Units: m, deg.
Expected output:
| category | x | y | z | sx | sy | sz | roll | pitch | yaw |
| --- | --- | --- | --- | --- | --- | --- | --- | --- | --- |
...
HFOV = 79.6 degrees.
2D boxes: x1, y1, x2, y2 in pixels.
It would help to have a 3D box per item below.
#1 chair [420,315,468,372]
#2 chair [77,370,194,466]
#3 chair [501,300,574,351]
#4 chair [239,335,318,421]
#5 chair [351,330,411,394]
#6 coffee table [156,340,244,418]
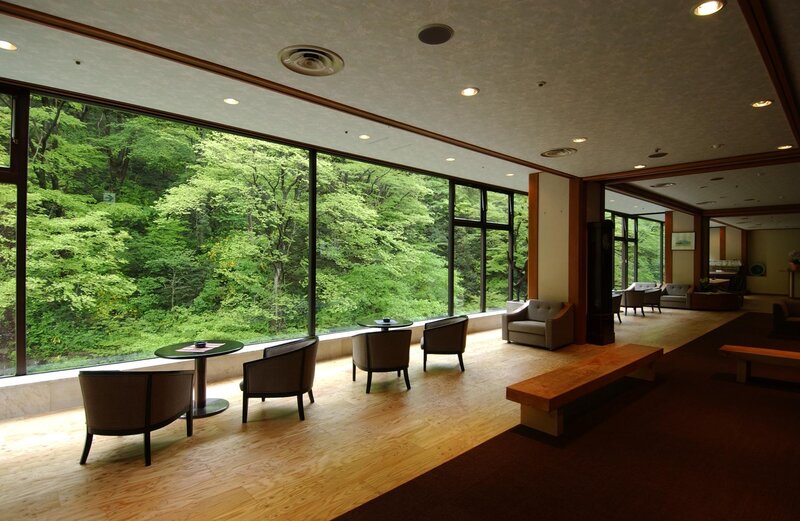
| category | x | y | z | sx | sy | sz | roll | pitch | yaw |
| --- | --- | --- | --- | --- | --- | --- | --- | --- | --- |
| chair | 0.749 | 1.331 | 7.951 | 0.883 | 0.666 | 0.676 | -1 | 6 | 14 |
| chair | -3.121 | 1.834 | 5.816 | 1.316 | 0.961 | 1.108 | -4 | -11 | 9 |
| chair | 2.781 | 1.240 | 9.544 | 0.823 | 0.698 | 1.100 | -12 | 9 | -38 |
| chair | -1.606 | 1.556 | 6.594 | 1.050 | 0.767 | 0.975 | -1 | 3 | -5 |
| chair | -0.218 | 1.479 | 7.232 | 0.973 | 0.717 | 0.784 | 2 | -9 | -16 |
| coffee table | -2.680 | 1.565 | 6.367 | 1.288 | 0.679 | 1.125 | 2 | -3 | -23 |
